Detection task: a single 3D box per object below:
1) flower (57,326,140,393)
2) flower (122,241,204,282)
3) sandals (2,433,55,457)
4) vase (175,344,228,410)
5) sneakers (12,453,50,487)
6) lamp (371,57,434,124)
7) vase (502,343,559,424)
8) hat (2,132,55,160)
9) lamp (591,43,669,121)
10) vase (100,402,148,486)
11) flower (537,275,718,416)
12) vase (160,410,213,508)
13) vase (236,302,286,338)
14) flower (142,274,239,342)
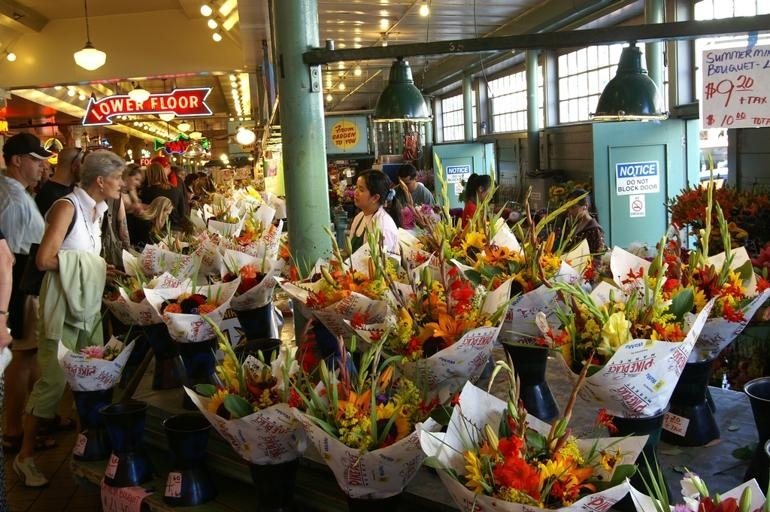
[{"bbox_3d":[-1.346,0.474,2.604,0.313,0.244,0.275,4,-2,8],"label":"flower"},{"bbox_3d":[-1.296,0.040,3.164,0.360,0.178,0.330,3,2,42],"label":"flower"},{"bbox_3d":[-2.588,1.349,3.924,0.362,0.176,0.129,0,9,-12],"label":"sandals"},{"bbox_3d":[-0.864,0.497,2.530,0.166,0.223,0.222,-6,10,-21],"label":"vase"},{"bbox_3d":[-2.335,1.407,3.632,0.296,0.151,0.131,22,12,26],"label":"sneakers"},{"bbox_3d":[0.123,-1.327,4.560,0.461,0.511,0.479,-1,0,-13],"label":"lamp"},{"bbox_3d":[0.584,0.489,2.135,0.173,0.284,0.197,-18,-8,16],"label":"vase"},{"bbox_3d":[-2.683,-0.822,4.100,0.289,0.175,0.196,-4,16,-29],"label":"hat"},{"bbox_3d":[1.863,-1.271,4.172,0.517,0.578,0.542,-6,10,-23],"label":"lamp"},{"bbox_3d":[-1.114,0.821,2.359,0.212,0.309,0.208,-9,-5,23],"label":"vase"},{"bbox_3d":[0.758,0.304,1.651,0.308,0.196,0.384,-21,-5,5],"label":"flower"},{"bbox_3d":[-0.787,0.807,2.159,0.185,0.323,0.171,-8,11,-36],"label":"vase"},{"bbox_3d":[-0.643,0.339,2.847,0.216,0.183,0.199,-3,2,-22],"label":"vase"},{"bbox_3d":[-0.912,0.253,2.567,0.350,0.337,0.403,-2,12,-4],"label":"flower"}]
